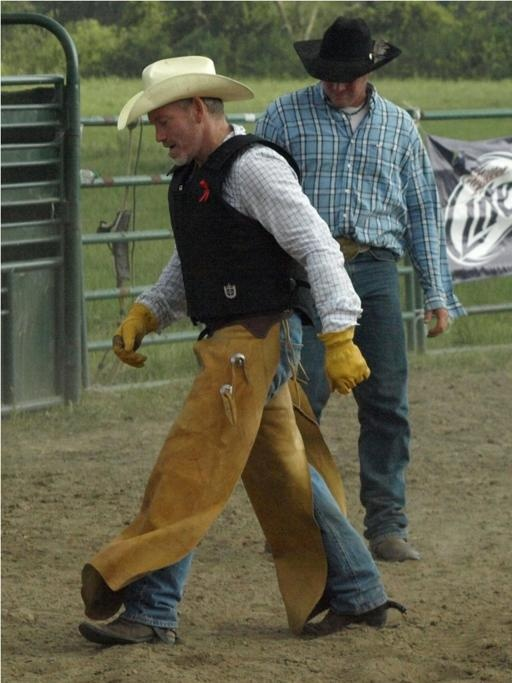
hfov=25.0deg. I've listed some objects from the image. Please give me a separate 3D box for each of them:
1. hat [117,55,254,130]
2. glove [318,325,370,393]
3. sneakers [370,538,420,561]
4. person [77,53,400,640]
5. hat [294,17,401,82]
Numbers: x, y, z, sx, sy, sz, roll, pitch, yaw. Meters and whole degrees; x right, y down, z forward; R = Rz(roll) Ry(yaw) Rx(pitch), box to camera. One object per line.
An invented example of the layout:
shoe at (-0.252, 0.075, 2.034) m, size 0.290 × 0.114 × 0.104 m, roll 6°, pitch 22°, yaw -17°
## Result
hat at (-0.222, -0.794, 3.671) m, size 0.342 × 0.117 × 0.264 m, roll -10°, pitch 6°, yaw -28°
glove at (0.268, 0.060, 3.602) m, size 0.148 × 0.227 × 0.149 m, roll -3°, pitch 16°, yaw -13°
sneakers at (0.555, 0.848, 4.663) m, size 0.171 × 0.084 × 0.069 m, roll 10°, pitch -29°, yaw 22°
person at (-0.037, 0.070, 3.726) m, size 1.004 × 1.934 × 0.833 m, roll 0°, pitch 16°, yaw -3°
hat at (0.373, -1.196, 4.596) m, size 0.436 × 0.164 × 0.386 m, roll -14°, pitch 34°, yaw -22°
